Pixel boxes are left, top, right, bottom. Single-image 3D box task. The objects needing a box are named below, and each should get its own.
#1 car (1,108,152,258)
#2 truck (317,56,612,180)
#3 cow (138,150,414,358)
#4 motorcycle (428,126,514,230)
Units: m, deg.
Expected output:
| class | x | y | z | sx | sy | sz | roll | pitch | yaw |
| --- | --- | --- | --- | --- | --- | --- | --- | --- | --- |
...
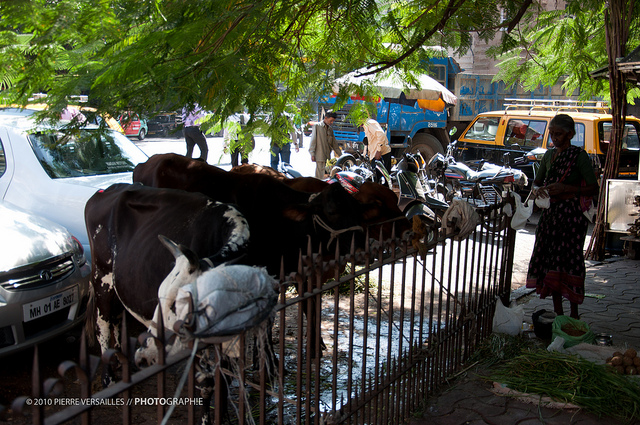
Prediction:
| class | x | y | z | sx | sy | sz | roll | pitch | yaw |
| --- | --- | --- | --- | --- | --- | --- | --- | --- | --- |
| car | -3.080 | -0.461 | 6.184 | 1.425 | 1.268 | 2.493 | -25 | 36 | -38 |
| truck | 4.218 | -3.048 | 15.918 | 9.787 | 4.286 | 4.086 | -3 | 11 | -25 |
| cow | -0.569 | 0.354 | 4.735 | 2.728 | 1.541 | 0.891 | 8 | 21 | 26 |
| motorcycle | 2.961 | -0.513 | 10.159 | 1.044 | 1.462 | 2.326 | -2 | 10 | -41 |
